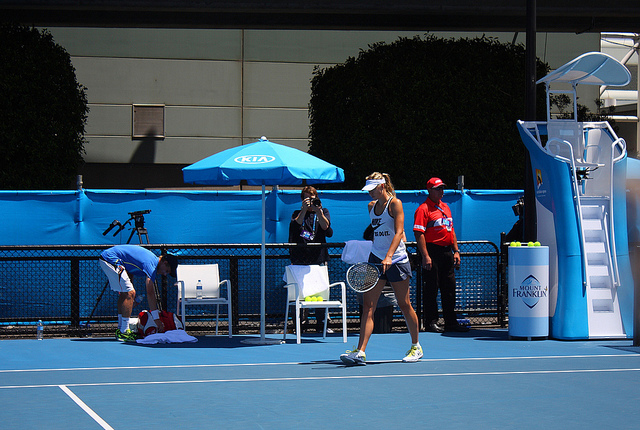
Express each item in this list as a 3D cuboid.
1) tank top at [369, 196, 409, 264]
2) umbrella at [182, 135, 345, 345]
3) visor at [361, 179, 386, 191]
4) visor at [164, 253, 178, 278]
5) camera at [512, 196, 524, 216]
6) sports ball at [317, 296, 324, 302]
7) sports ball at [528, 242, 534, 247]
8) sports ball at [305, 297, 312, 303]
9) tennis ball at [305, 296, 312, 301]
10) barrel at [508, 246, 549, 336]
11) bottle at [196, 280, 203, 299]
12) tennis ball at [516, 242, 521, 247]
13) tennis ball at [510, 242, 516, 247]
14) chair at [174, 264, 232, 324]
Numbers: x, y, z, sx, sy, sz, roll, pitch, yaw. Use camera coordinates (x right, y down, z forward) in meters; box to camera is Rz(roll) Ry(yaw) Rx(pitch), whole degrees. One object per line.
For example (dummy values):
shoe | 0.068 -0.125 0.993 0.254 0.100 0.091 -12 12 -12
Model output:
tank top | 1.315 0.363 21.598 0.817 1.400 0.638 -4 5 26
umbrella | -1.348 1.061 23.923 2.587 5.506 2.942 -3 3 -22
visor | 1.045 -0.605 21.278 0.321 0.107 0.219 -16 0 -37
visor | -3.234 1.120 23.399 0.224 0.447 0.274 -20 3 -2
camera | 4.727 -0.190 25.623 0.109 0.404 0.294 17 17 -12
sports ball | -0.001 1.862 23.417 0.136 0.099 0.200 0 11 0
sports ball | 4.599 0.667 23.550 0.082 0.091 0.102 -13 -6 -3
sports ball | -0.270 1.881 23.360 0.111 0.103 0.100 -12 -20 -13
tennis ball | -0.266 1.852 23.372 0.101 0.091 0.087 4 -31 -36
barrel | 4.607 1.757 23.907 1.040 2.083 1.062 1 -3 0
bottle | -2.682 1.670 23.803 0.142 0.383 0.135 0 10 0
tennis ball | 4.352 0.661 23.621 0.094 0.090 0.085 -4 2 2
tennis ball | 4.222 0.665 23.608 0.093 0.088 0.083 -10 -7 20
chair | -2.658 1.809 24.216 1.080 1.639 1.022 1 -4 -16
